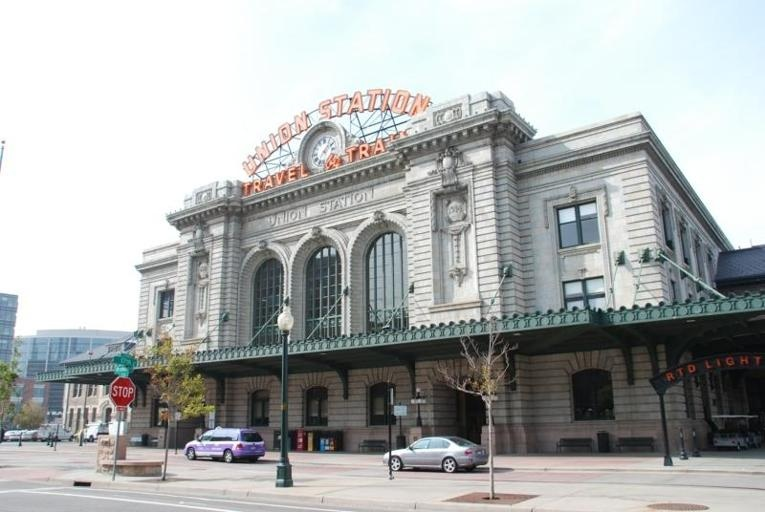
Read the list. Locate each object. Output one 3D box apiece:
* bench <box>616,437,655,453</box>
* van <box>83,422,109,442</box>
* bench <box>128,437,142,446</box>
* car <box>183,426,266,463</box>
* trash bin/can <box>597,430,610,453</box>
[{"bbox_3d":[16.623,12.356,46.910,2.379,0.991,1.292,-8,-20,16],"label":"bench"},{"bbox_3d":[-36.182,21.825,89.436,2.340,2.842,9.768,6,-20,-21],"label":"van"},{"bbox_3d":[-24.274,18.046,69.747,0.760,1.000,2.213,10,-22,-30],"label":"bench"},{"bbox_3d":[-11.371,13.453,50.976,6.373,2.131,2.597,-11,-17,41],"label":"car"},{"bbox_3d":[14.785,12.484,47.937,1.004,1.423,0.972,12,-22,-30],"label":"trash bin/can"}]
